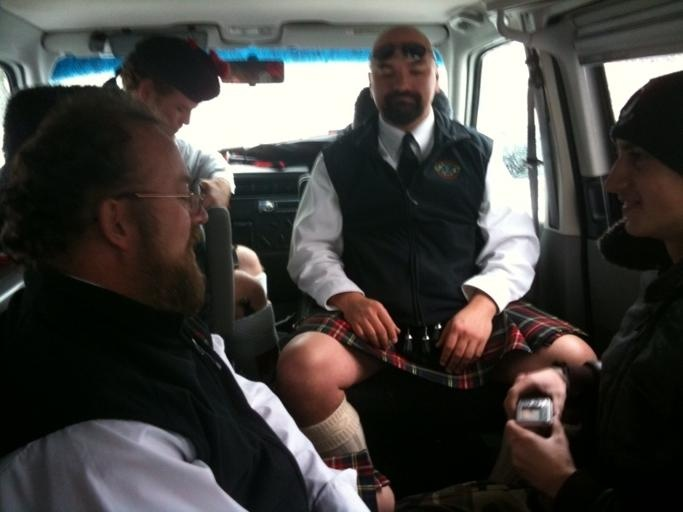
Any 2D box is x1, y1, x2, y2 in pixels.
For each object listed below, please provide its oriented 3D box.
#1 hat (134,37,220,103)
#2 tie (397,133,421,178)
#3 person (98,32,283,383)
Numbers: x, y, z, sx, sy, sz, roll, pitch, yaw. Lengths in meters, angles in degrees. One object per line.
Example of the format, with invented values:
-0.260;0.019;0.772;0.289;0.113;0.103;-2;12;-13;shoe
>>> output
-0.964;-1.104;3.033;0.446;0.149;0.393;-6;52;-51;hat
0.352;-0.509;2.772;0.080;0.298;0.067;2;-15;5;tie
-0.990;-0.174;3.146;1.130;2.159;0.849;-1;4;-30;person
